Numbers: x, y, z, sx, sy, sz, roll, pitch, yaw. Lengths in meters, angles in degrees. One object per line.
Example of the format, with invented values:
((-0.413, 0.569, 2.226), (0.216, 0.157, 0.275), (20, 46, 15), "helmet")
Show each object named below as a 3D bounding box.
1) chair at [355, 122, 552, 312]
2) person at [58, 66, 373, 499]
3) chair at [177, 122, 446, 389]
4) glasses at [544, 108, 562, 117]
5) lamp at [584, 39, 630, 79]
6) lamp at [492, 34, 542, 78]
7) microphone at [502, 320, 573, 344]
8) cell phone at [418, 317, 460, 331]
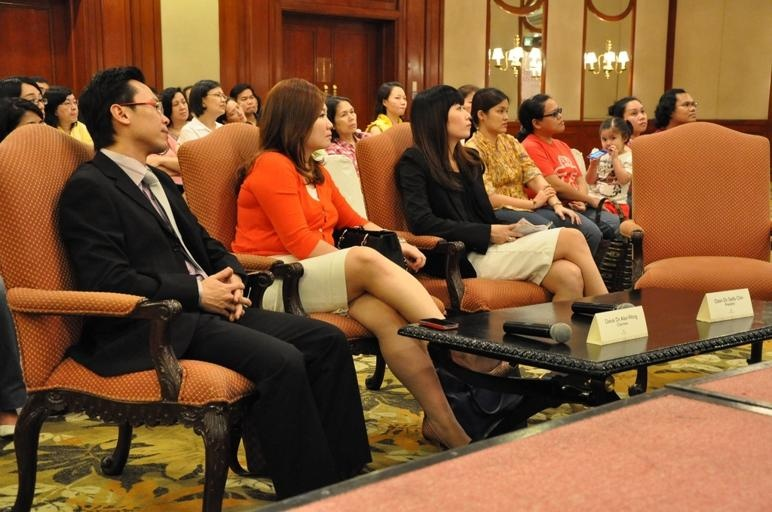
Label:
((0.580, -0.210, 3.328), (1.007, 1.195, 0.830), (-1, 1, 34), "chair")
((-0.636, 0.106, 2.104), (0.968, 1.401, 0.594), (4, 13, 4), "person")
((-0.610, 0.114, 3.152), (1.093, 1.660, 1.332), (2, -10, -16), "chair")
((1.242, -1.094, 4.324), (0.110, 0.032, 0.109), (3, 12, 38), "glasses")
((3.832, -3.402, 9.972), (0.788, 0.629, 0.996), (15, 16, 40), "lamp")
((2.056, -3.152, 9.158), (0.690, 0.397, 0.523), (-3, 3, -37), "lamp")
((0.496, 0.244, 1.924), (0.262, 0.079, 0.079), (-1, 49, 44), "microphone")
((0.178, 0.232, 1.993), (0.136, 0.030, 0.077), (5, 12, 25), "cell phone")
